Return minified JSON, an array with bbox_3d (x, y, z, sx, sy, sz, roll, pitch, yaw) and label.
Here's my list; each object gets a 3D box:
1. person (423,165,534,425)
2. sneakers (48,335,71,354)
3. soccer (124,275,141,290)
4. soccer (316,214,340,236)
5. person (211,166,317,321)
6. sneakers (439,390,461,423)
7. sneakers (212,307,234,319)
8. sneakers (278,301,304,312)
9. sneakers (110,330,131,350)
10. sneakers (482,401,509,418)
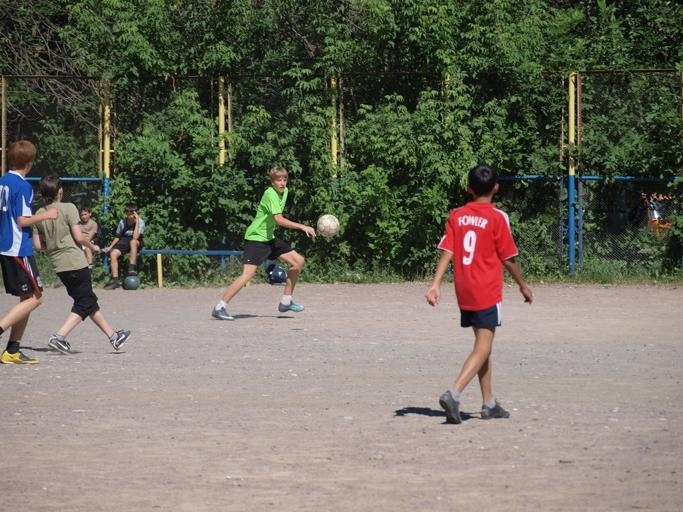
[{"bbox_3d":[1.241,0.352,9.657,0.910,2.350,0.613,0,6,4],"label":"person"},{"bbox_3d":[-3.311,1.039,12.337,0.137,0.152,0.361,17,-6,31],"label":"sneakers"},{"bbox_3d":[-3.912,0.518,19.653,0.266,0.256,0.306,-25,-27,39],"label":"soccer"},{"bbox_3d":[-0.254,-0.526,18.429,0.388,0.360,0.370,15,-14,-2],"label":"soccer"},{"bbox_3d":[-1.110,-0.182,15.215,1.266,2.187,0.756,-3,7,-30],"label":"person"},{"bbox_3d":[0.984,1.372,9.600,0.169,0.333,0.291,2,6,17],"label":"sneakers"},{"bbox_3d":[-1.728,0.824,15.160,0.307,0.212,0.253,-1,6,-6],"label":"sneakers"},{"bbox_3d":[-0.754,0.762,15.613,0.392,0.153,0.150,-1,10,-12],"label":"sneakers"},{"bbox_3d":[-2.665,1.014,12.589,0.289,0.130,0.097,-36,30,8],"label":"sneakers"},{"bbox_3d":[1.459,1.434,9.814,0.314,0.139,0.112,0,7,-29],"label":"sneakers"}]
